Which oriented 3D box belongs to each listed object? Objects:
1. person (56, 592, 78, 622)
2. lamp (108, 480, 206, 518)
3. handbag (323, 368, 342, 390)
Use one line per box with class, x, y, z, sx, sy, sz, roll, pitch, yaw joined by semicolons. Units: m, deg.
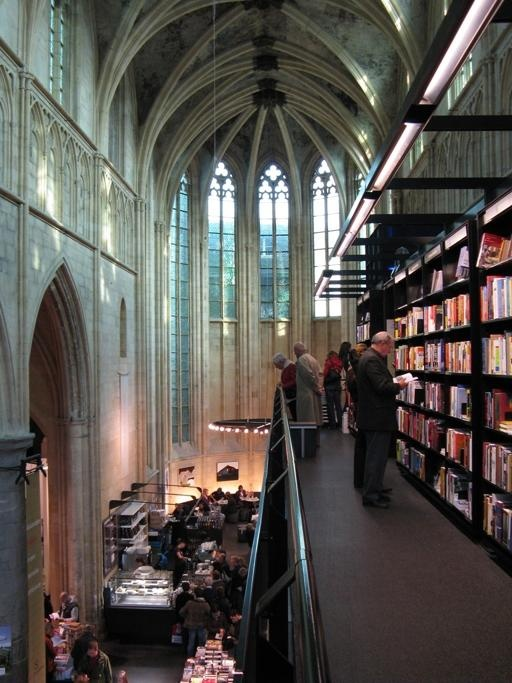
person;-3.255;4.668;9.867;0.314;0.536;0.743;-4;-1;-21
lamp;-2.507;4.009;14.230;1.216;0.522;1.881;0;-5;0
handbag;1.272;0.703;9.631;0.333;0.553;0.278;2;-8;-11
